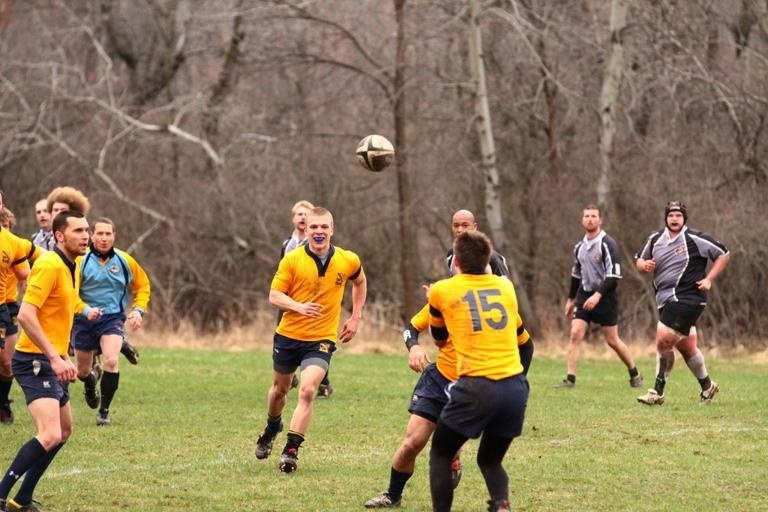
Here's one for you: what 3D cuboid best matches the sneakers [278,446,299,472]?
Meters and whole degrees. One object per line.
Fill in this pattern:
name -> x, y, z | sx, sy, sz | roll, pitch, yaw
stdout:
sneakers -> -1.558, 3.335, 19.551 | 0.284, 0.430, 0.174 | 2, -3, -3

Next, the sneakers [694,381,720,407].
sneakers -> 6.103, 2.669, 22.713 | 0.248, 0.595, 0.212 | 26, -3, -1

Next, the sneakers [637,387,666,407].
sneakers -> 4.975, 2.675, 22.475 | 0.421, 0.237, 0.264 | 2, -3, -7

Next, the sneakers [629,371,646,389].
sneakers -> 5.089, 2.537, 24.274 | 0.211, 0.237, 0.515 | 2, 13, 13

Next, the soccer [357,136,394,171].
soccer -> -0.162, -2.040, 23.655 | 0.648, 0.728, 0.666 | -15, -23, 39

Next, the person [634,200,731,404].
person -> 5.596, 0.892, 22.759 | 1.485, 3.870, 0.906 | 1, -3, 12

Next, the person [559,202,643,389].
person -> 4.320, 0.813, 24.292 | 1.410, 3.708, 0.867 | 1, -3, 10

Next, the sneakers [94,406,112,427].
sneakers -> -4.975, 2.868, 21.342 | 0.240, 0.295, 0.353 | 2, -3, -13
